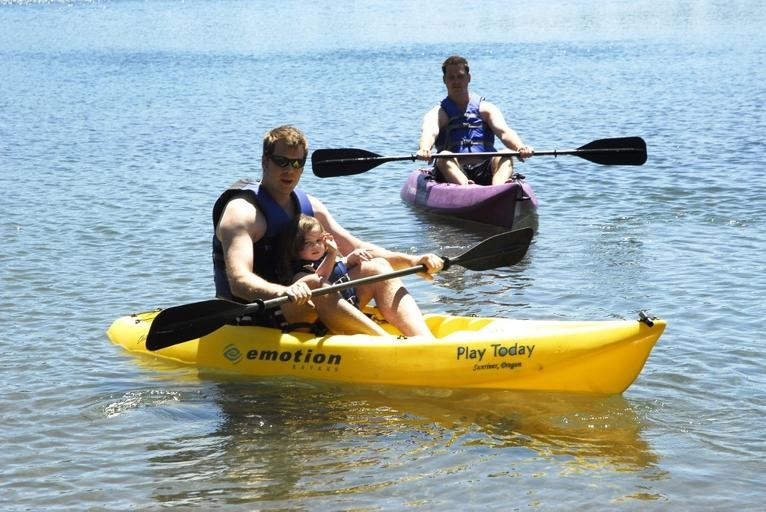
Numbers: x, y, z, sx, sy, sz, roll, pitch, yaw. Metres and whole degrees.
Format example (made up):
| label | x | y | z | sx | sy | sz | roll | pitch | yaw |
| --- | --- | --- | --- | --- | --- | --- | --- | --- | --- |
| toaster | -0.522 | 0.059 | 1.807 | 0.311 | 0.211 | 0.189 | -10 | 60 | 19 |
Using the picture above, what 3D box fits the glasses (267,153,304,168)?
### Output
| label | x | y | z | sx | sy | sz | roll | pitch | yaw |
| --- | --- | --- | --- | --- | --- | --- | --- | --- | --- |
| glasses | -0.935 | -0.945 | 11.146 | 0.347 | 0.148 | 0.165 | -9 | 41 | -7 |
